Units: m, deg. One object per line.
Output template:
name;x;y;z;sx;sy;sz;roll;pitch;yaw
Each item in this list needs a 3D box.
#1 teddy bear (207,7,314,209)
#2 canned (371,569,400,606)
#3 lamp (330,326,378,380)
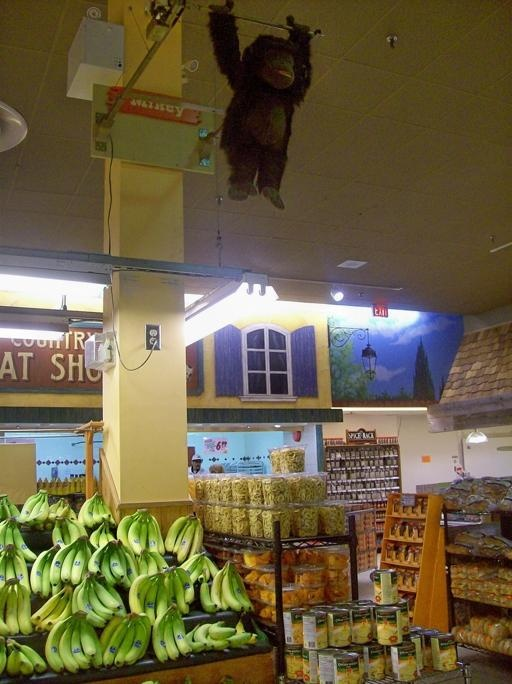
teddy bear;0.046;-1.128;2.875;0.502;0.935;0.613;-2;-11;6
canned;0.635;1.206;2.839;0.119;0.174;0.231;-3;-10;11
lamp;1.939;0.252;11.703;1.111;1.066;0.288;2;-4;-2
